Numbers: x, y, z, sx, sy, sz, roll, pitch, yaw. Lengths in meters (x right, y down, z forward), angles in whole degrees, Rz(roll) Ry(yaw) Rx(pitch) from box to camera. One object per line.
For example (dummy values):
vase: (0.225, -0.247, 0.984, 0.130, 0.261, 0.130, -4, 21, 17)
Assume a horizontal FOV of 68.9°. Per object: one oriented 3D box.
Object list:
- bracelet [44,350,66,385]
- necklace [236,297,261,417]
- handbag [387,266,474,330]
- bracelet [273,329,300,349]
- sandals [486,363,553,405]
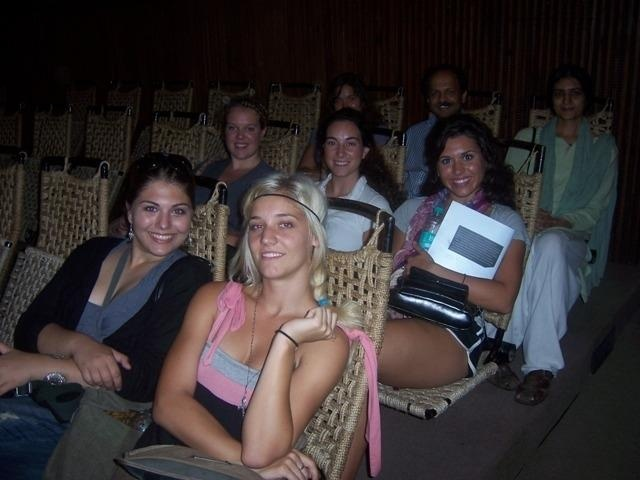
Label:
bracelet: (-1.123, 0.562, 2.010, 0.103, 0.091, 0.082, 3, 9, -9)
necklace: (-0.264, 0.456, 1.820, 0.074, 0.395, 0.225, 3, 8, -4)
handbag: (0.566, 0.291, 2.311, 0.292, 0.136, 0.301, 19, 24, 7)
bracelet: (-0.109, 0.341, 1.629, 0.073, 0.054, 0.018, 54, 24, 23)
sandals: (1.168, 0.849, 2.714, 0.244, 0.177, 0.427, 3, 3, 26)
